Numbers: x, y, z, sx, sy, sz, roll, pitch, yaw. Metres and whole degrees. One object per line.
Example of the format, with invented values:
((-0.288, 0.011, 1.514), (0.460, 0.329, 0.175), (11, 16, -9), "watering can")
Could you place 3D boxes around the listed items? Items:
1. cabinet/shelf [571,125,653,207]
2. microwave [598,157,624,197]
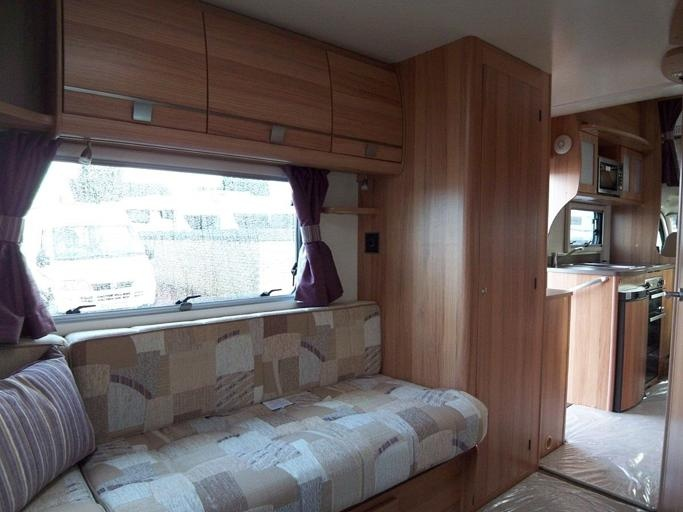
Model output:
((2.592, -0.898, 4.774), (0.937, 0.460, 0.470), (2, -5, -45), "cabinet/shelf")
((2.597, -0.766, 4.777), (0.139, 0.372, 0.700), (12, 18, 37), "microwave")
